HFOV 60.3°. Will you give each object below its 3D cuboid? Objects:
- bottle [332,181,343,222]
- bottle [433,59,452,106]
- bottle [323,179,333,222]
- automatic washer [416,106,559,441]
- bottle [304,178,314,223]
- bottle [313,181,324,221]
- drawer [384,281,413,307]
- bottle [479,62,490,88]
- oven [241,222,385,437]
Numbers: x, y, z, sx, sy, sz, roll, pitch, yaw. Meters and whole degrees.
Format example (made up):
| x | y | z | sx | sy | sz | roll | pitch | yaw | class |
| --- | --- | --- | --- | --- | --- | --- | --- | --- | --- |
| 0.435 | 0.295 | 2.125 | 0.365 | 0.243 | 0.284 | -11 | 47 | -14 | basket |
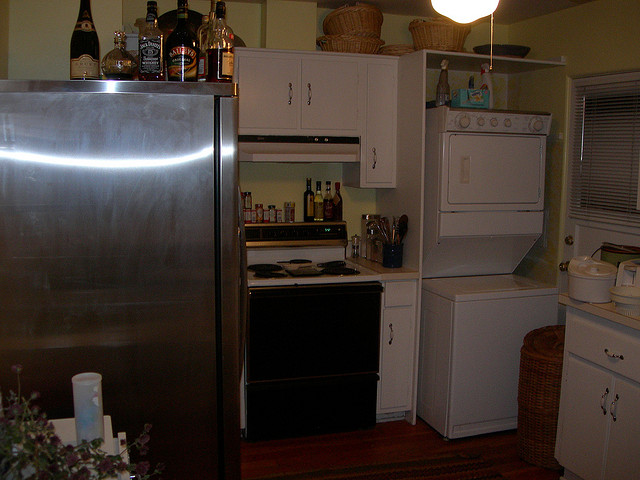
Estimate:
| x | y | z | sx | sy | sz | roll | pitch | yaw | class |
| --- | --- | --- | --- | --- | --- | --- | --- | --- | --- |
| 0.132 | -0.284 | 4.066 | 0.075 | 0.281 | 0.147 | 1 | 10 | 2 | bottle |
| 0.828 | -1.049 | 3.698 | 0.117 | 0.311 | 0.497 | 3 | 11 | 13 | bottle |
| 0.058 | -0.290 | 4.051 | 0.074 | 0.292 | 0.110 | -1 | 10 | -10 | bottle |
| 1.126 | 0.164 | 3.825 | 0.889 | 2.081 | 0.711 | -1 | 3 | -15 | automatic washer |
| -0.075 | -0.293 | 4.010 | 0.066 | 0.301 | 0.151 | 2 | 10 | 9 | bottle |
| -0.008 | -0.285 | 4.020 | 0.071 | 0.280 | 0.077 | 0 | 10 | 0 | bottle |
| 0.497 | 0.331 | 3.697 | 0.222 | 0.219 | 0.150 | -1 | 9 | -12 | drawer |
| 1.109 | -1.104 | 3.705 | 0.051 | 0.166 | 0.142 | 3 | 11 | 16 | bottle |
| -0.090 | 0.567 | 3.771 | 0.938 | 1.297 | 0.732 | -2 | 11 | -12 | oven |
